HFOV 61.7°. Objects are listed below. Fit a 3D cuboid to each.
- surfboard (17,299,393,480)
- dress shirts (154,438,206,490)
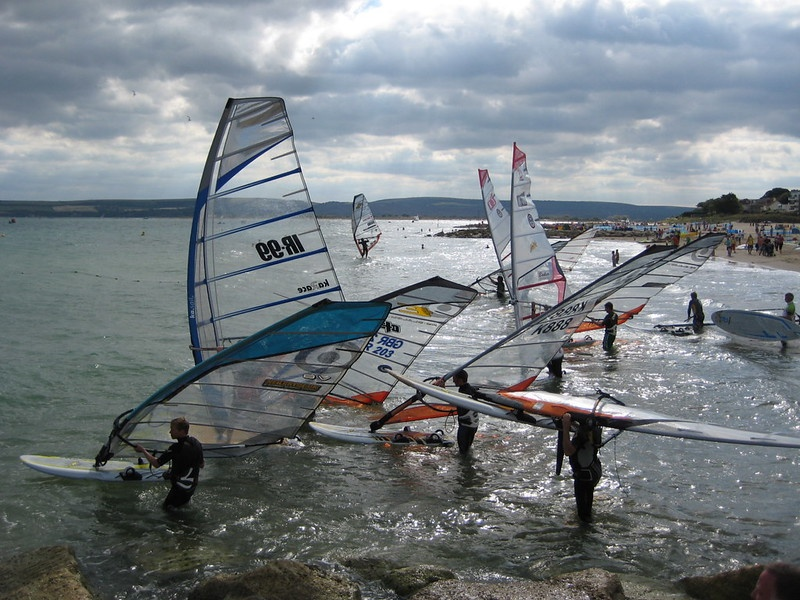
[{"bbox_3d":[-3.175,1.475,10.918,8.012,2.079,1.822,-11,13,13],"label":"surfboard"},{"bbox_3d":[-3.240,2.412,9.826,0.627,0.869,0.297,-6,12,-5],"label":"dress shirts"}]
